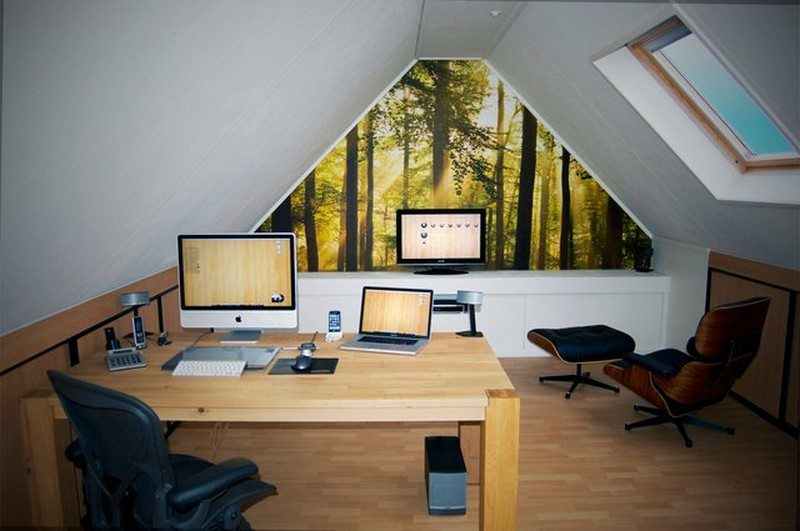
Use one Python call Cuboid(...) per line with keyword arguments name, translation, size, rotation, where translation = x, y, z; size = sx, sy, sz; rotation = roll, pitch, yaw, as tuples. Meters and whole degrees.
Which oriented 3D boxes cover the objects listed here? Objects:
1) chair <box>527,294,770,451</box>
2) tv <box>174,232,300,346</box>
Cuboid(name="chair", translation=(2.054, 0.667, 5.348), size=(1.014, 1.143, 1.847), rotation=(-4, 14, -24))
Cuboid(name="tv", translation=(-1.212, 0.172, 4.366), size=(0.838, 0.752, 0.226), rotation=(-1, 1, 0))
